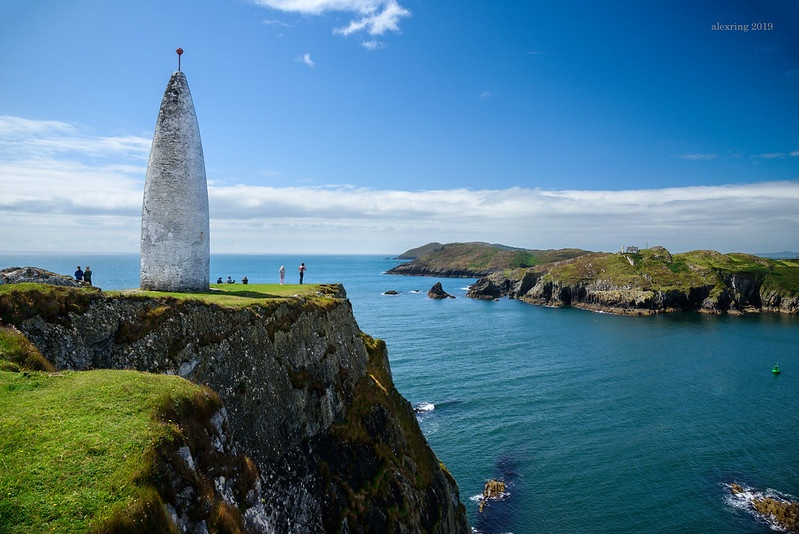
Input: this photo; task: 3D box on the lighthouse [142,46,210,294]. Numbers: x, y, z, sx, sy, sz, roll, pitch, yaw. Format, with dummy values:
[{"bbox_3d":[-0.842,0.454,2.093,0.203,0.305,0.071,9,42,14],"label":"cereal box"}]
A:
[{"bbox_3d":[-12.664,-4.278,29.828,3.418,11.320,2.716,-3,9,-25],"label":"lighthouse"}]
